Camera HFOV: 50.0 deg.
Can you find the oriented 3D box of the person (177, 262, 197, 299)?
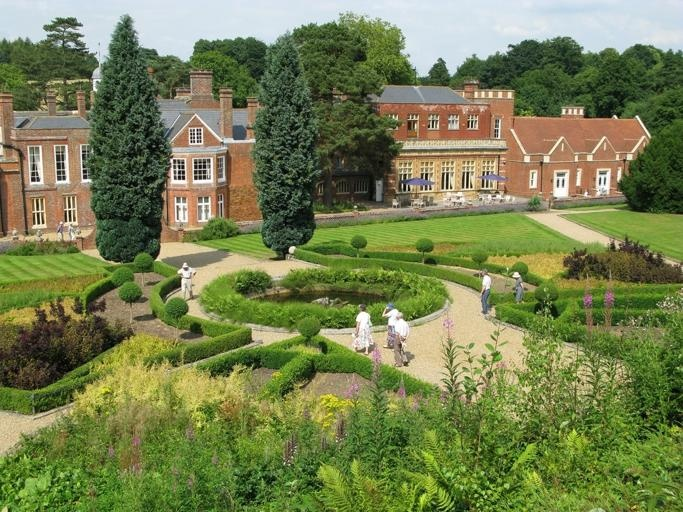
[{"bbox_3d":[-7.108,1.055,33.512,0.616,1.694,2.006,-3,9,-14],"label":"person"}]

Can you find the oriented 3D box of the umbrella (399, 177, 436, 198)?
[{"bbox_3d":[7.055,-6.598,66.702,3.662,1.038,2.561,-9,12,-41],"label":"umbrella"}]
